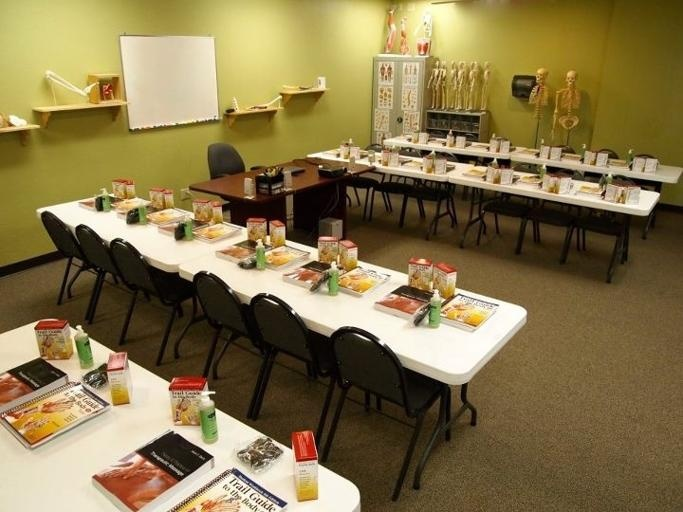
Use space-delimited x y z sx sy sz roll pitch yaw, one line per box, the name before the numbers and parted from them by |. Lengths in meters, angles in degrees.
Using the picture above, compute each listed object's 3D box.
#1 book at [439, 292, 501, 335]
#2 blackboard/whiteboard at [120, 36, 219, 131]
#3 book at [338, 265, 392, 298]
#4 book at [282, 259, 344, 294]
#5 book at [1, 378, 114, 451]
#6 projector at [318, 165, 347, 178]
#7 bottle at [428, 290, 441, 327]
book | 0.798 0.339 3.070 0.306 0.407 0.040 13 62 3
blackboard/whiteboard | -2.319 -2.290 6.252 0.091 1.066 1.292 16 25 37
book | 0.148 0.174 3.365 0.181 0.034 0.254 18 28 35
book | -0.205 0.132 3.426 0.272 0.059 0.256 16 30 43
book | -1.362 0.746 2.264 0.240 0.077 0.286 16 24 35
projector | -0.108 -1.074 5.986 0.309 0.125 0.415 6 26 14
bottle | 0.579 0.301 2.937 0.082 0.222 0.172 4 25 11
